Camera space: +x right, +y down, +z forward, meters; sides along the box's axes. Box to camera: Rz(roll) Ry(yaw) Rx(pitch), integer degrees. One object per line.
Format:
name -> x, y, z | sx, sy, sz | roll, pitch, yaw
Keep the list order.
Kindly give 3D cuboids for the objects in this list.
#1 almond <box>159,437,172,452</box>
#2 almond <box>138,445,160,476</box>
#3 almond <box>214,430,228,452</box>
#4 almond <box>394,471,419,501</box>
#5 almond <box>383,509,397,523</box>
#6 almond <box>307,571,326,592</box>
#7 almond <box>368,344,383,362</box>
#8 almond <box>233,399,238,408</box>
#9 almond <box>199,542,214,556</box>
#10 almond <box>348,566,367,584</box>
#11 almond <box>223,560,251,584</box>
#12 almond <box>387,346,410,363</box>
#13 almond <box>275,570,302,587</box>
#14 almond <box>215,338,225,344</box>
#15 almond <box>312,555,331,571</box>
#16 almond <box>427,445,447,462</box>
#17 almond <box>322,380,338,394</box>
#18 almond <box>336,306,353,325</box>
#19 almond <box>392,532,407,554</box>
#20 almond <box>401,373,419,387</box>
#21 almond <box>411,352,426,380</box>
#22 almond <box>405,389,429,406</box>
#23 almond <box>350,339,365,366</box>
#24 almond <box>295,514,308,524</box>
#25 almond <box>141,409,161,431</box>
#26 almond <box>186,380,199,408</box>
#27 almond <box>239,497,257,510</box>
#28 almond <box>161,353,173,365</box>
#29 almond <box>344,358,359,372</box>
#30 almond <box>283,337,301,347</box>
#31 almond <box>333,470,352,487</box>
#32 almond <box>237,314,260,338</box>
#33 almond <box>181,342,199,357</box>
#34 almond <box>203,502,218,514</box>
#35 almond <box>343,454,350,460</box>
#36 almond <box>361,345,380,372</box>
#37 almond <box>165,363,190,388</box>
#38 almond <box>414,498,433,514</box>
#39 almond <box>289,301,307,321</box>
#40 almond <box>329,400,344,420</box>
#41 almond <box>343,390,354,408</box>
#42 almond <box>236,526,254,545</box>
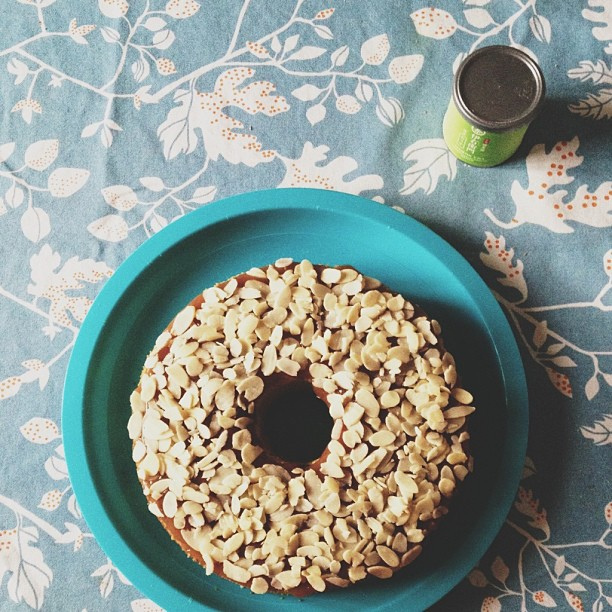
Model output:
almond -> -0.241, 0.235, 1.365 | 0.024, 0.006, 0.021 | -34, 82, 8
almond -> -0.267, 0.262, 1.365 | 0.043, 0.012, 0.044 | -3, 90, 20
almond -> -0.143, 0.226, 1.351 | 0.016, 0.011, 0.038 | 21, 94, -12
almond -> 0.165, 0.294, 1.325 | 0.033, 0.009, 0.044 | -28, 87, -5
almond -> 0.139, 0.346, 1.322 | 0.017, 0.006, 0.024 | -41, 82, -5
almond -> 0.022, 0.453, 1.326 | 0.025, 0.007, 0.035 | -20, 109, 4
almond -> 0.121, 0.080, 1.349 | 0.030, 0.007, 0.023 | 1, 95, -6
almond -> -0.120, 0.164, 1.356 | 0.018, 0.003, 0.014 | -1, 93, -10
almond -> -0.168, 0.404, 1.342 | 0.024, 0.005, 0.022 | 38, 84, 7
almond -> 0.085, 0.443, 1.330 | 0.029, 0.034, 0.025 | -6, 81, 2
almond -> -0.118, 0.443, 1.340 | 0.052, 0.013, 0.026 | 29, 83, 6
almond -> 0.157, 0.081, 1.355 | 0.039, 0.008, 0.029 | 1, 81, 2
almond -> -0.029, 0.450, 1.330 | 0.036, 0.009, 0.026 | 37, 84, 7
almond -> -0.149, 0.059, 1.376 | 0.010, 0.002, 0.008 | 1, 83, -1
almond -> 0.027, 0.424, 1.326 | 0.029, 0.007, 0.024 | -2, 94, 9
almond -> 0.217, 0.244, 1.338 | 0.043, 0.011, 0.013 | -37, 87, -14
almond -> 0.042, 0.135, 1.357 | 0.024, 0.006, 0.022 | -6, 94, 4
almond -> 0.064, 0.016, 1.370 | 0.033, 0.020, 0.008 | -42, 110, -4
almond -> 0.157, 0.391, 1.327 | 0.036, 0.009, 0.028 | 5, 90, -12
almond -> 0.177, 0.124, 1.351 | 0.033, 0.004, 0.016 | -26, 81, -3
almond -> 0.192, 0.101, 1.353 | 0.013, 0.024, 0.044 | -23, 85, -41
almond -> 0.188, 0.153, 1.344 | 0.036, 0.008, 0.024 | 3, 83, 7
almond -> 0.086, 0.076, 1.358 | 0.028, 0.009, 0.034 | -1, 78, 7
almond -> -0.005, 0.353, 1.335 | 0.016, 0.006, 0.014 | -1, 81, 2
almond -> -0.266, 0.193, 1.374 | 0.033, 0.008, 0.032 | 12, 91, 25
almond -> -0.192, 0.148, 1.359 | 0.028, 0.006, 0.032 | -7, 82, 25
almond -> -0.096, 0.330, 1.339 | 0.028, 0.004, 0.018 | 2, 81, 2
almond -> -0.239, 0.091, 1.386 | 0.018, 0.005, 0.018 | -53, 44, 2
almond -> 0.076, 0.101, 1.353 | 0.022, 0.005, 0.024 | -43, 82, -5
almond -> -0.026, 0.061, 1.368 | 0.020, 0.005, 0.016 | -3, 83, -2
almond -> 0.058, 0.285, 1.338 | 0.029, 0.009, 0.024 | -24, 89, 14
almond -> -0.100, 0.034, 1.368 | 0.027, 0.013, 0.041 | 38, 90, 8
almond -> -0.199, 0.073, 1.371 | 0.029, 0.005, 0.020 | -45, 68, -3
almond -> -0.160, 0.336, 1.341 | 0.022, 0.004, 0.018 | -2, 89, 9
almond -> 0.068, 0.251, 1.339 | 0.011, 0.002, 0.009 | -6, 81, 1
almond -> 0.115, 0.082, 1.342 | 0.034, 0.007, 0.034 | -7, 90, -9
almond -> -0.218, 0.118, 1.365 | 0.029, 0.010, 0.044 | -37, 84, 4
almond -> 0.196, 0.331, 1.330 | 0.031, 0.008, 0.025 | -2, 81, 1
almond -> -0.013, 0.007, 1.374 | 0.022, 0.007, 0.033 | -36, 79, 13
almond -> 0.048, 0.177, 1.355 | 0.033, 0.009, 0.028 | -11, 81, 47
almond -> 0.068, 0.156, 1.344 | 0.018, 0.006, 0.024 | 12, 84, 4
almond -> -0.102, 0.380, 1.336 | 0.028, 0.008, 0.034 | 2, 92, -6
